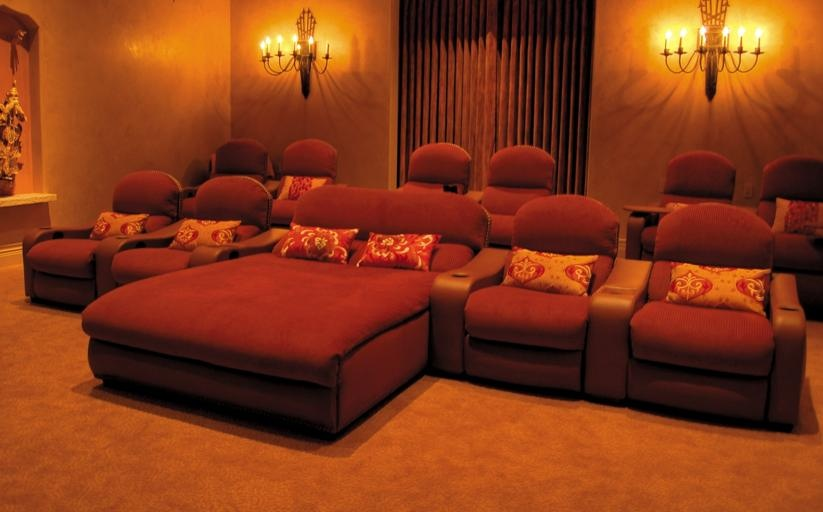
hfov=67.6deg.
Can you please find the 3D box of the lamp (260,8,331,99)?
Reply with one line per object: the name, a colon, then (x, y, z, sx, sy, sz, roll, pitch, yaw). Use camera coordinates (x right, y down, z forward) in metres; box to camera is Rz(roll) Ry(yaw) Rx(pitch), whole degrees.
lamp: (-1.634, -2.906, 8.780, 1.016, 1.259, 0.316, 10, 15, 31)
